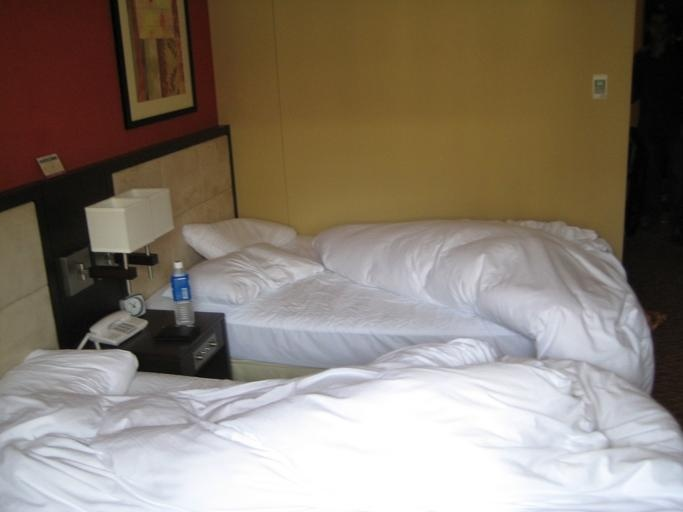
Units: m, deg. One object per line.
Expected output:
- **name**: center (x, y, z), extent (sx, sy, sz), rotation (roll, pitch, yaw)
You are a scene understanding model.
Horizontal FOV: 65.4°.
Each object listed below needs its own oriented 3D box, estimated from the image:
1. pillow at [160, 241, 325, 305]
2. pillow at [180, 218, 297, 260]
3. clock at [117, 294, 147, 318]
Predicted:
- **pillow**: center (-0.524, 0.006, 3.217), extent (0.398, 0.129, 0.663), rotation (14, 22, 31)
- **pillow**: center (-0.733, -0.142, 3.689), extent (0.407, 0.147, 0.408), rotation (24, 6, 25)
- **clock**: center (-1.095, 0.262, 2.799), extent (0.118, 0.115, 0.038), rotation (-5, 3, -40)
